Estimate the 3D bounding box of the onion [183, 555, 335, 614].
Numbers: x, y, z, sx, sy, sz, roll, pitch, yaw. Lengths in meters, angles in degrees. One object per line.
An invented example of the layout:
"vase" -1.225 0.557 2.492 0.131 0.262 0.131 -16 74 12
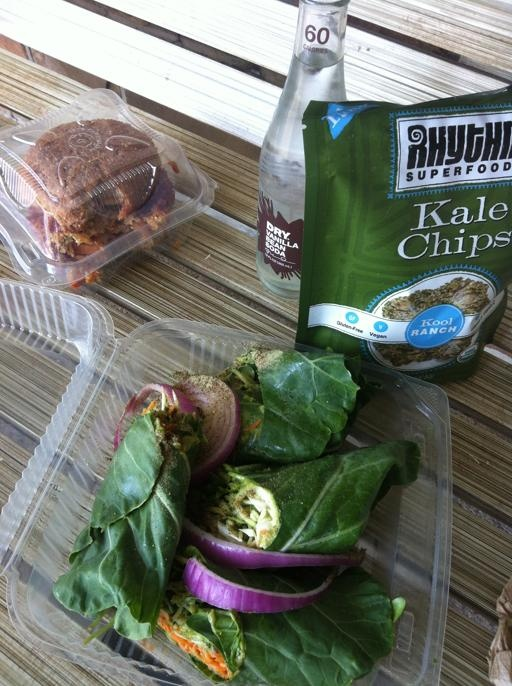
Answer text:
"onion" -0.005 0.197 0.464 0.071 0.019 0.051 21 0 -22
